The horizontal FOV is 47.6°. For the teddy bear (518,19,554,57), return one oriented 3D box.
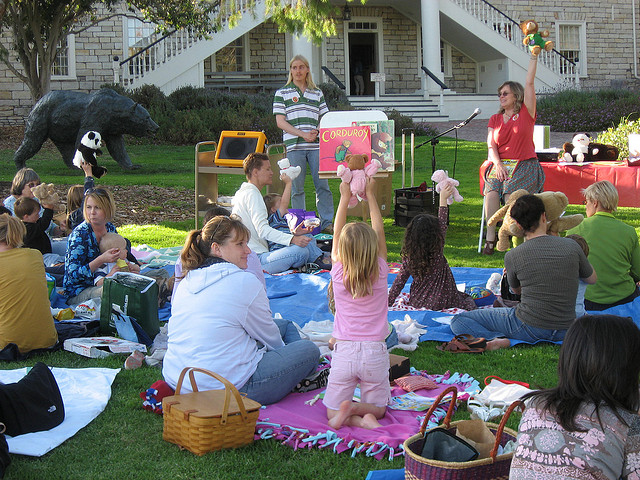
[{"bbox_3d":[2.475,-2.307,8.284,0.324,0.470,0.917,2,7,14],"label":"teddy bear"}]

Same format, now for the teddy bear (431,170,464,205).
[{"bbox_3d":[1.338,-0.610,7.579,0.326,0.388,0.202,-3,25,1],"label":"teddy bear"}]

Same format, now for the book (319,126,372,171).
[{"bbox_3d":[0.333,-1.169,9.375,0.714,0.599,0.071,2,2,15],"label":"book"}]

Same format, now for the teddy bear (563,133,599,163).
[{"bbox_3d":[4.181,-1.452,11.629,0.650,0.476,0.391,4,7,43],"label":"teddy bear"}]

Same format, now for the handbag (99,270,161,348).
[{"bbox_3d":[-1.703,0.610,6.466,0.604,0.595,0.332,14,19,37],"label":"handbag"}]

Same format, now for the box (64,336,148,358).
[{"bbox_3d":[-1.830,0.910,6.151,0.695,0.116,0.283,-1,7,-13],"label":"box"}]

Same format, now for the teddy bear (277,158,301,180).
[{"bbox_3d":[-0.392,-0.884,9.089,0.247,0.246,0.783,0,7,-3],"label":"teddy bear"}]

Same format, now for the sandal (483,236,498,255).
[{"bbox_3d":[2.119,0.043,8.954,0.099,0.278,0.081,7,-26,22],"label":"sandal"}]

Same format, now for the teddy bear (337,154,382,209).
[{"bbox_3d":[0.309,-0.460,5.804,0.315,0.426,0.550,1,7,6],"label":"teddy bear"}]

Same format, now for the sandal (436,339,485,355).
[{"bbox_3d":[1.178,0.910,6.109,0.373,0.087,0.136,3,-1,6],"label":"sandal"}]

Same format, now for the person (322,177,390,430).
[{"bbox_3d":[0.270,0.506,5.227,0.482,1.515,0.775,1,7,5],"label":"person"}]

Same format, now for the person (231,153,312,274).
[{"bbox_3d":[-0.546,-0.325,8.529,0.981,1.350,1.038,1,10,8],"label":"person"}]

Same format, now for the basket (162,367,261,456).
[{"bbox_3d":[-0.737,1.124,4.838,0.580,0.540,0.391,6,9,39],"label":"basket"}]

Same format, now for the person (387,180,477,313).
[{"bbox_3d":[1.114,0.103,7.043,0.959,1.327,0.691,-11,15,-36],"label":"person"}]

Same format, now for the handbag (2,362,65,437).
[{"bbox_3d":[-1.989,1.120,4.990,0.198,0.316,0.371,-3,26,43],"label":"handbag"}]

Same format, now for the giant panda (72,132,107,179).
[{"bbox_3d":[-2.922,-1.070,9.127,0.386,0.644,0.373,-14,22,-42],"label":"giant panda"}]

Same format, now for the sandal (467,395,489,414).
[{"bbox_3d":[1.118,1.176,5.198,0.083,0.066,0.135,1,28,15],"label":"sandal"}]

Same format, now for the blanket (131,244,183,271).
[{"bbox_3d":[-2.016,0.212,8.835,0.420,0.054,0.465,4,11,10],"label":"blanket"}]

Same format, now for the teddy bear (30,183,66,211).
[{"bbox_3d":[-2.921,-0.453,7.656,0.236,0.268,0.375,-3,8,-25],"label":"teddy bear"}]
